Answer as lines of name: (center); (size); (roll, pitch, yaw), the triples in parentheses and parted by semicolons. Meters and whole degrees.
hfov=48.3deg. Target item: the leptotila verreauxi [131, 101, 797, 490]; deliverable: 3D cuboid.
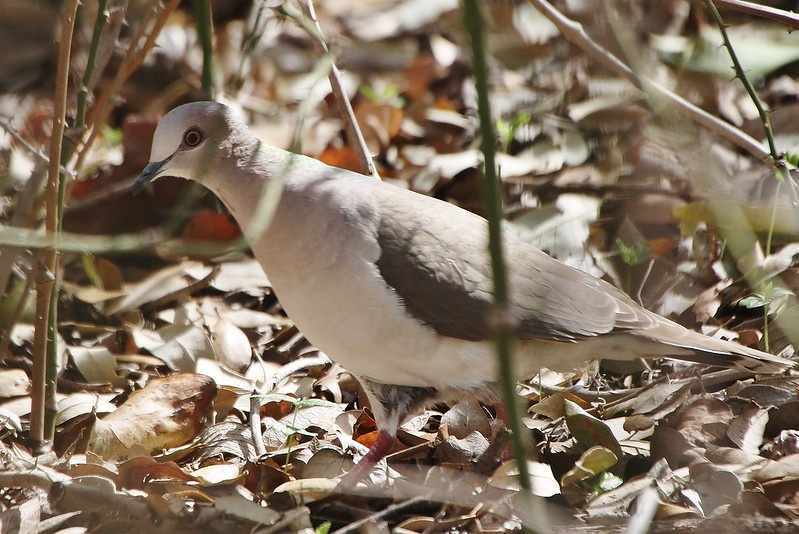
leptotila verreauxi: (0.041, 0.036, 3.169); (1.921, 1.242, 0.799); (5, 44, 25)
